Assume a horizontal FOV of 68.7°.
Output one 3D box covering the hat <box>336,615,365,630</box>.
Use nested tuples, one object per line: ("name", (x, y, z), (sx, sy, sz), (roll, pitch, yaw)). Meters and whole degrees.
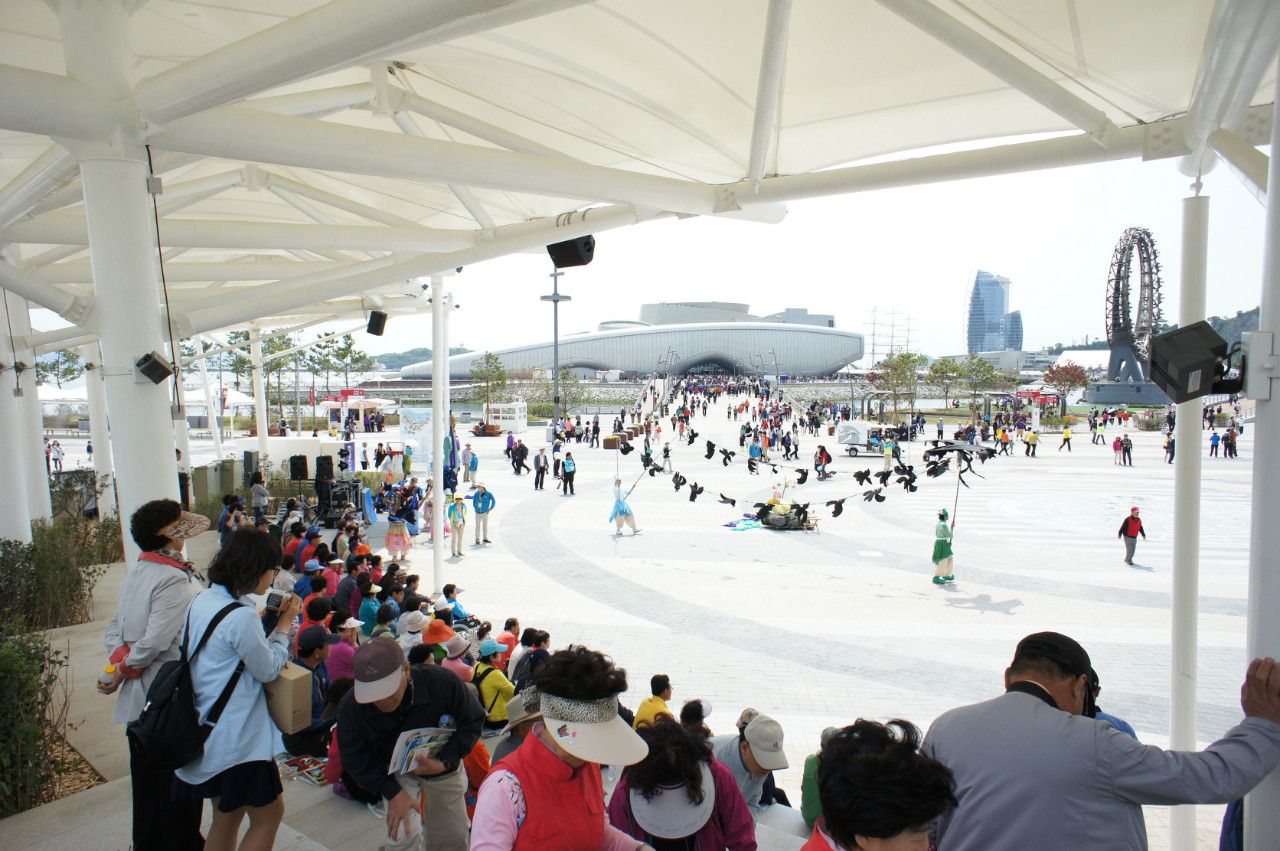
("hat", (-3.092, 2.168, 10.052), (0.258, 0.084, 0.190), (0, 2, -28))

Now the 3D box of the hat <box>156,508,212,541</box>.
("hat", (-3.870, 0.880, 7.992), (0.306, 0.113, 0.217), (-19, 18, -13))

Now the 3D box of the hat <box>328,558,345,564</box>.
("hat", (-4.458, 2.027, 13.707), (0.244, 0.079, 0.171), (-2, 0, -7))

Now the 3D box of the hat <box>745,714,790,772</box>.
("hat", (1.082, 2.758, 8.161), (0.329, 0.435, 0.251), (-2, 0, 1))

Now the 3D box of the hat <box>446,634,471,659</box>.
("hat", (-1.977, 2.419, 10.177), (0.262, 0.260, 0.234), (-2, 0, -19))

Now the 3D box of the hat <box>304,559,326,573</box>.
("hat", (-4.371, 1.944, 12.643), (0.172, 0.135, 0.262), (7, 13, 44))

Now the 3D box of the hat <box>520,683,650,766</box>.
("hat", (-0.321, 2.051, 6.294), (0.617, 0.231, 0.471), (17, 15, 42))

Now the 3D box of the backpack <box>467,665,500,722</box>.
("backpack", (-1.553, 2.814, 9.719), (0.347, 0.604, 0.263), (-2, 0, -15))

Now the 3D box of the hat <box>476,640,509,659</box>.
("hat", (-1.632, 2.526, 10.363), (0.208, 0.162, 0.332), (3, 5, 38))

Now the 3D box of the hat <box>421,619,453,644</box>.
("hat", (-2.255, 2.309, 10.432), (0.337, 0.248, 0.546), (-2, 0, -14))

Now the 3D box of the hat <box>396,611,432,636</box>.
("hat", (-2.590, 2.223, 10.811), (0.371, 0.293, 0.212), (1, 1, 2))
